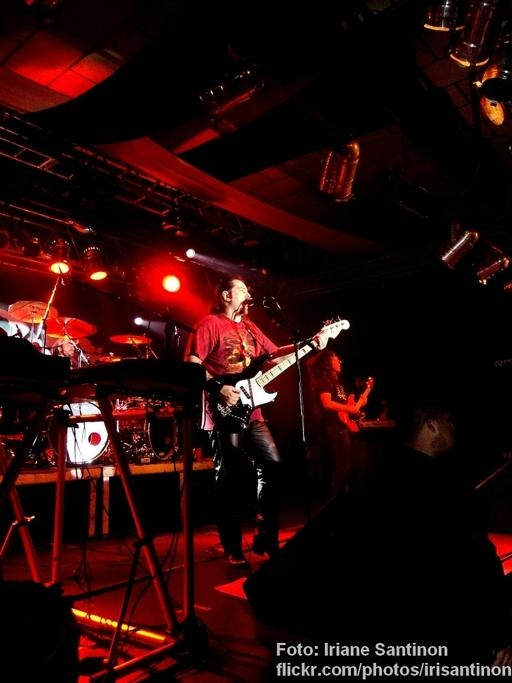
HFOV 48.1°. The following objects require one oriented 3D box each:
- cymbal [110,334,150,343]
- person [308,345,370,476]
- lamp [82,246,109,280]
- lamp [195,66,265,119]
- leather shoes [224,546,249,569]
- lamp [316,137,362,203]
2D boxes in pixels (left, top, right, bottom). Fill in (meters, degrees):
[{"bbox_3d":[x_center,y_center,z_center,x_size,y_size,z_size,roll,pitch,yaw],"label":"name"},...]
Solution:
[{"bbox_3d":[-1.484,-0.033,6.904,0.437,0.136,0.415,0,4,-32],"label":"cymbal"},{"bbox_3d":[0.981,0.807,6.667,0.328,0.693,2.090,-13,2,14],"label":"person"},{"bbox_3d":[-1.993,-0.976,7.161,0.298,0.444,0.308,-18,35,-12],"label":"lamp"},{"bbox_3d":[-0.228,-1.749,4.090,0.483,0.136,0.260,-37,15,-36],"label":"lamp"},{"bbox_3d":[-0.099,1.195,3.154,0.108,0.146,0.093,-13,34,-5],"label":"leather shoes"},{"bbox_3d":[0.718,-1.482,4.908,0.343,0.227,0.740,-17,-6,4],"label":"lamp"}]
